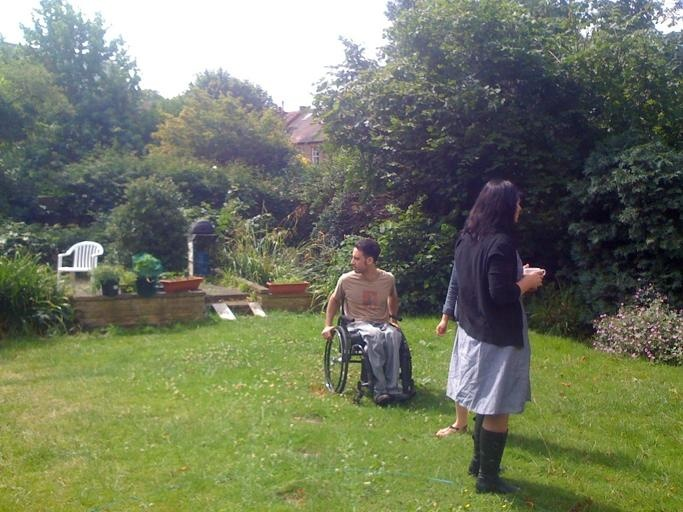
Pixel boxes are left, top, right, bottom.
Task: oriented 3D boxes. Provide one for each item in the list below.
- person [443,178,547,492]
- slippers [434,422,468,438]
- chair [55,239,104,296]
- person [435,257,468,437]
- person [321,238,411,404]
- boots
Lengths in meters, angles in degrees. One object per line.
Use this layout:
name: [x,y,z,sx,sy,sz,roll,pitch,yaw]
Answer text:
person: [1.641,0.859,7.783,1.018,3.403,1.108,0,0,-3]
slippers: [1.336,2.131,8.429,0.401,0.191,0.157,2,0,4]
chair: [-5.547,0.238,14.387,0.882,1.210,0.769,0,0,7]
person: [1.447,0.935,8.462,0.474,2.608,0.618,-1,-3,29]
person: [0.456,0.967,9.498,1.079,2.254,1.210,5,6,-20]
boots: [1.706,2.194,7.515,0.741,0.760,0.603,3,1,11]
